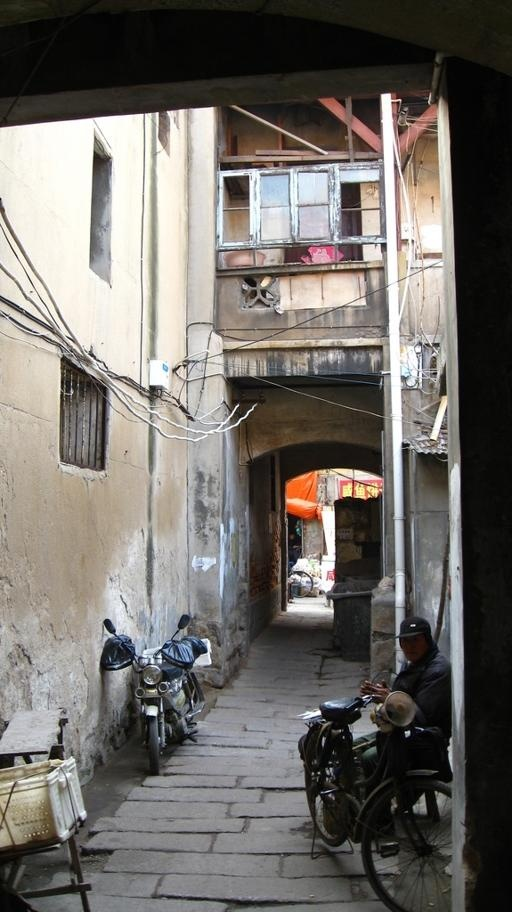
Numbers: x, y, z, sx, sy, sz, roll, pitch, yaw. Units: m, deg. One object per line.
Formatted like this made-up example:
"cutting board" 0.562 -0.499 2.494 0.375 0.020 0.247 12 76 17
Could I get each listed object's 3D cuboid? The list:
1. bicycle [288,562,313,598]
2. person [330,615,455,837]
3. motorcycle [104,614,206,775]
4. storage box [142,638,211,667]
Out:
"bicycle" 1.212 3.457 23.439 0.661 0.881 2.021 -3 0 2
"person" 0.746 1.283 4.218 0.352 0.972 0.364 2 -11 -10
"motorcycle" -0.787 1.793 6.952 0.469 1.180 1.422 -3 0 11
"storage box" -0.662 1.636 7.268 0.273 0.237 0.566 1 -8 10
